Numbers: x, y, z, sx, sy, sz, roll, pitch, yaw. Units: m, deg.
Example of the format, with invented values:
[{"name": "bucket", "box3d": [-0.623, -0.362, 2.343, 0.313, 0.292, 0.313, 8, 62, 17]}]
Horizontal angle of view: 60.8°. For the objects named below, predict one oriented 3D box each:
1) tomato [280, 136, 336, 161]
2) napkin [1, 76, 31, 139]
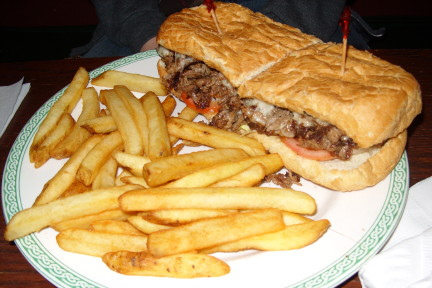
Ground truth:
[{"name": "tomato", "box3d": [0.935, 0.013, 3.668, 0.390, 0.373, 0.204, 4, 103, 39]}, {"name": "napkin", "box3d": [-2.447, -0.441, 4.405, 0.345, 0.223, 0.728, -10, 70, -1]}]
